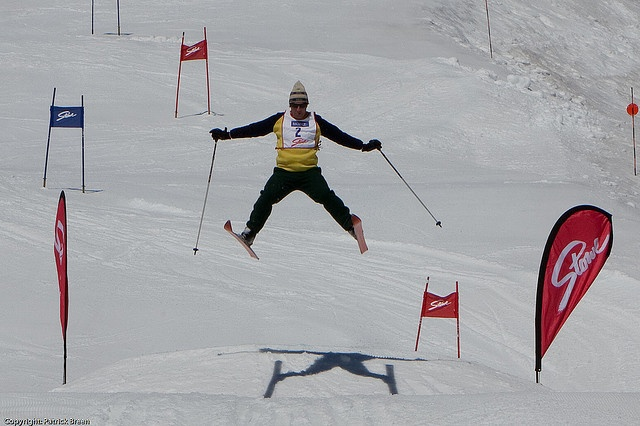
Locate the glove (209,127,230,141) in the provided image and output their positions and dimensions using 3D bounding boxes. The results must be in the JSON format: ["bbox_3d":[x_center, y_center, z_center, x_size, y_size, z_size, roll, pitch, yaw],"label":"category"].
[{"bbox_3d":[-2.251,-1.714,26.414,0.427,0.194,0.300,14,29,28],"label":"glove"}]
